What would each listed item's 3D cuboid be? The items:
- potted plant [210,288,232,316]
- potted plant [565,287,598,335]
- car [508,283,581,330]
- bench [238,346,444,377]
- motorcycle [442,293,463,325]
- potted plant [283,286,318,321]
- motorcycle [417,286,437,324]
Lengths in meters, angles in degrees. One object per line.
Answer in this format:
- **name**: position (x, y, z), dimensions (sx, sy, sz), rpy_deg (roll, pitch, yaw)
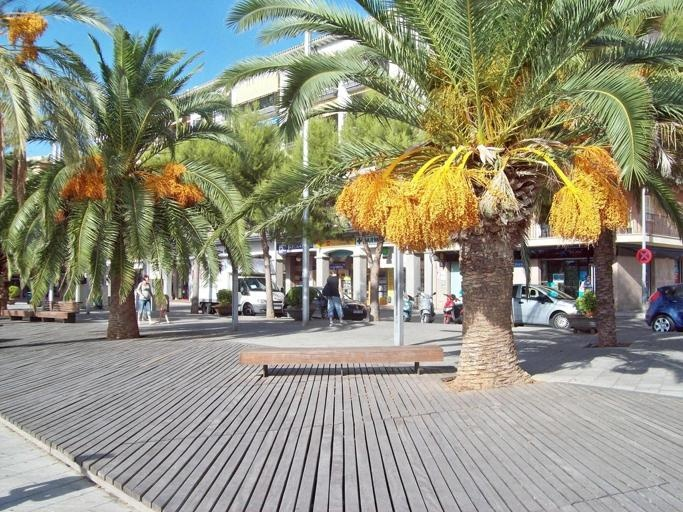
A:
- **potted plant**: position (-6.491, 2.601, 29.633), dimensions (0.762, 1.444, 1.680), rpy_deg (1, -5, -23)
- **potted plant**: position (8.059, 1.924, 18.168), dimensions (0.869, 1.350, 0.947), rpy_deg (-3, -5, 24)
- **car**: position (8.263, 2.273, 22.778), dimensions (3.097, 1.885, 1.953), rpy_deg (-8, -7, 36)
- **bench**: position (0.017, 1.770, 9.537), dimensions (3.461, 0.273, 0.513), rpy_deg (-1, -6, -1)
- **motorcycle**: position (4.971, 2.471, 24.082), dimensions (0.805, 1.097, 1.607), rpy_deg (-4, -19, 19)
- **potted plant**: position (-2.002, 2.353, 26.583), dimensions (1.393, 1.805, 1.583), rpy_deg (1, -4, -3)
- **motorcycle**: position (3.866, 2.377, 24.587), dimensions (0.640, 1.363, 3.018), rpy_deg (-2, -6, 9)
